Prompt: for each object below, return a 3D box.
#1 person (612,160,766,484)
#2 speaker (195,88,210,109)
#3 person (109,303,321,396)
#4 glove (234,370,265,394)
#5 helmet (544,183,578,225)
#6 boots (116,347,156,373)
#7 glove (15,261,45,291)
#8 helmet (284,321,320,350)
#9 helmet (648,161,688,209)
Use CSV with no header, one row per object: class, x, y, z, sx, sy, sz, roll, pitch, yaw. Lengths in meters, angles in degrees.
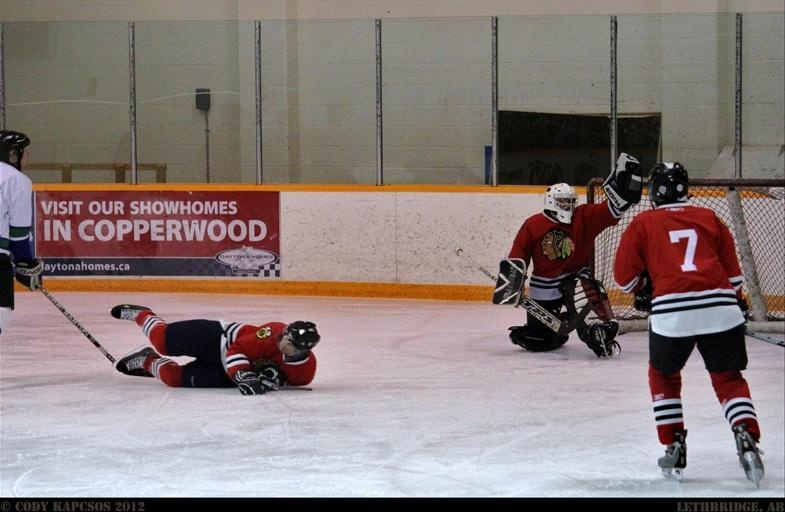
person,1.827,0.398,6.249,0.951,1.893,0.567,4,11,21
speaker,-2.321,-1.924,12.537,0.200,0.278,0.126,0,10,0
person,-1.285,0.748,7.708,1.499,0.457,0.601,3,-30,26
glove,-1.051,0.924,7.519,0.218,0.170,0.088,-1,10,-5
helmet,1.473,-0.462,8.965,0.290,0.339,0.362,0,4,-32
boots,-2.001,0.829,7.936,0.414,0.134,0.165,-6,25,0
glove,-2.926,0.143,8.142,0.286,0.231,0.178,3,4,29
helmet,-0.643,0.568,7.483,0.223,0.176,0.242,-31,-29,30
helmet,1.708,-0.433,6.453,0.248,0.245,0.281,-1,-13,4
